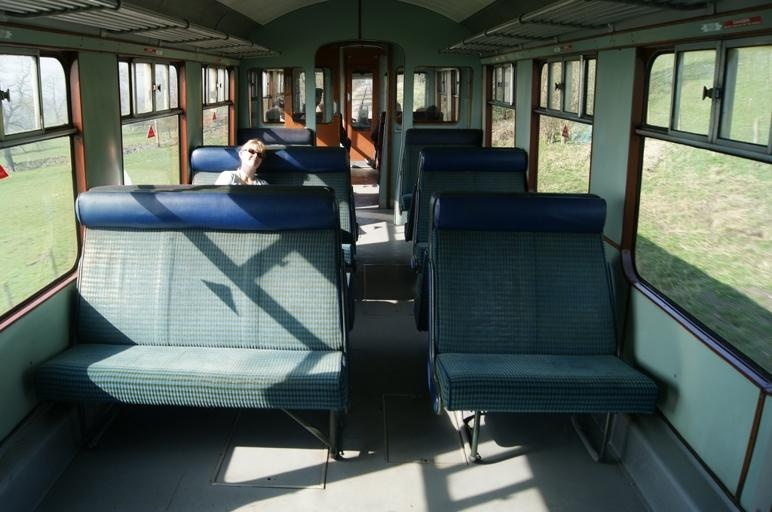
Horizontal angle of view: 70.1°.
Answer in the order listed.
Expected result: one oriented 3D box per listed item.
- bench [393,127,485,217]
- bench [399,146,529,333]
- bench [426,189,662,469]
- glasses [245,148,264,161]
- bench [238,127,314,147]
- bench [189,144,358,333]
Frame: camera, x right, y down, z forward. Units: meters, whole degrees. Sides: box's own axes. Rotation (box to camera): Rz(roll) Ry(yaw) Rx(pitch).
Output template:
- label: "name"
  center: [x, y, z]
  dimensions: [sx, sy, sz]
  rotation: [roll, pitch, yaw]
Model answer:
- label: "bench"
  center: [1.035, -1.238, 8.741]
  dimensions: [1.101, 0.981, 1.077]
  rotation: [3, 13, 4]
- label: "bench"
  center: [1.179, -0.466, 6.541]
  dimensions: [1.573, 2.068, 2.021]
  rotation: [0, 3, 9]
- label: "bench"
  center: [1.122, 0.354, 4.416]
  dimensions: [1.624, 2.124, 2.126]
  rotation: [1, 10, 0]
- label: "glasses"
  center: [-1.413, -1.097, 5.898]
  dimensions: [0.211, 0.157, 0.122]
  rotation: [-5, 20, -18]
- label: "bench"
  center: [-1.689, -1.832, 8.461]
  dimensions: [0.961, 0.381, 0.346]
  rotation: [-1, 5, -12]
- label: "bench"
  center: [-1.518, -0.072, 6.577]
  dimensions: [2.445, 2.253, 2.024]
  rotation: [0, 10, 1]
